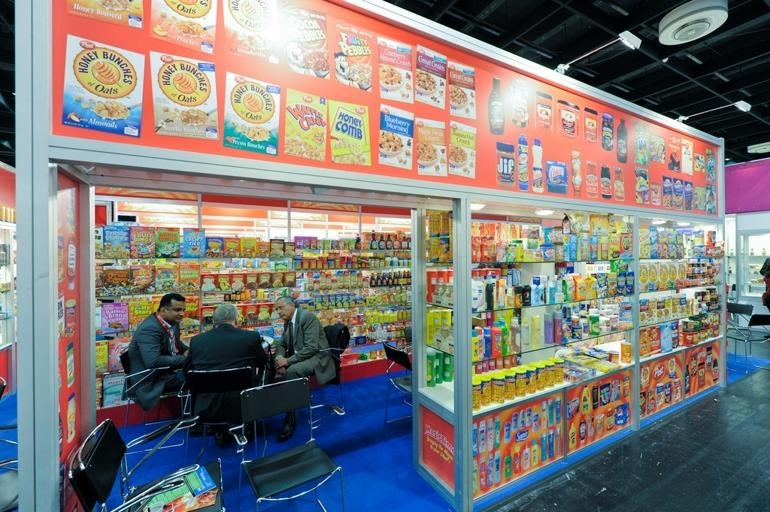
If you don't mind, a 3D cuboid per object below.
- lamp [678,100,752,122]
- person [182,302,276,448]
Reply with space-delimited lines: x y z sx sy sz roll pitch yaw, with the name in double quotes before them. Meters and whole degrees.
"lamp" 6.531 -2.890 10.307 0.916 0.230 0.982 0 1 -6
"person" -1.935 1.532 6.427 0.950 1.612 0.702 -2 0 -9
